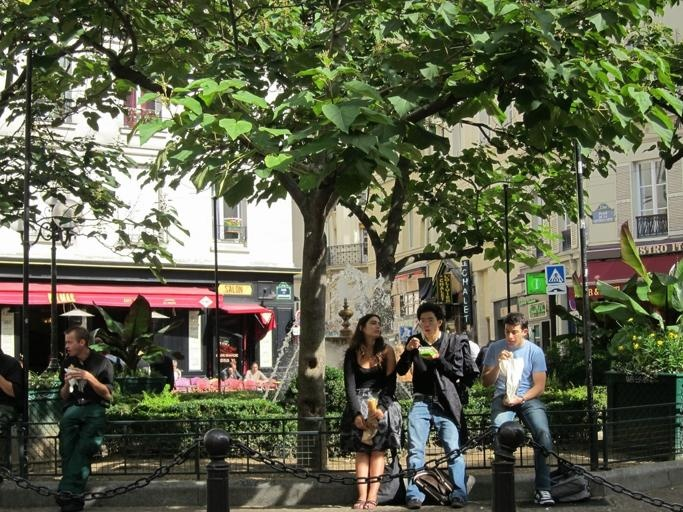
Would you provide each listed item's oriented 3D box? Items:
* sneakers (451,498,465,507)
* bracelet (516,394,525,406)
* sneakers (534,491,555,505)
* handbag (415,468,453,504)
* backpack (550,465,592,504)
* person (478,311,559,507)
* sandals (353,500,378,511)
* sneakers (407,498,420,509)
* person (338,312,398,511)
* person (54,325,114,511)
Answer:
[{"bbox_3d":[1.500,3.134,16.536,0.190,0.146,0.085,-2,-7,-7],"label":"sneakers"},{"bbox_3d":[2.348,1.854,16.766,0.097,0.096,0.118,-5,-8,15],"label":"bracelet"},{"bbox_3d":[2.644,3.102,16.669,0.251,0.200,0.141,-4,-7,8],"label":"sneakers"},{"bbox_3d":[1.189,2.959,16.678,0.494,0.454,0.281,-3,-7,3],"label":"handbag"},{"bbox_3d":[2.983,2.938,16.746,0.565,0.421,0.235,6,-45,9],"label":"backpack"},{"bbox_3d":[2.304,1.964,16.824,0.832,2.516,0.589,-4,-7,8],"label":"person"},{"bbox_3d":[0.287,3.166,16.539,0.305,0.120,0.204,-3,-7,2],"label":"sandals"},{"bbox_3d":[0.921,3.135,16.447,0.191,0.144,0.152,-3,-7,4],"label":"sneakers"},{"bbox_3d":[0.356,1.778,16.834,0.790,2.097,0.380,-3,-7,1],"label":"person"},{"bbox_3d":[-3.451,1.990,17.073,0.718,2.184,0.534,-1,-7,-11],"label":"person"}]
